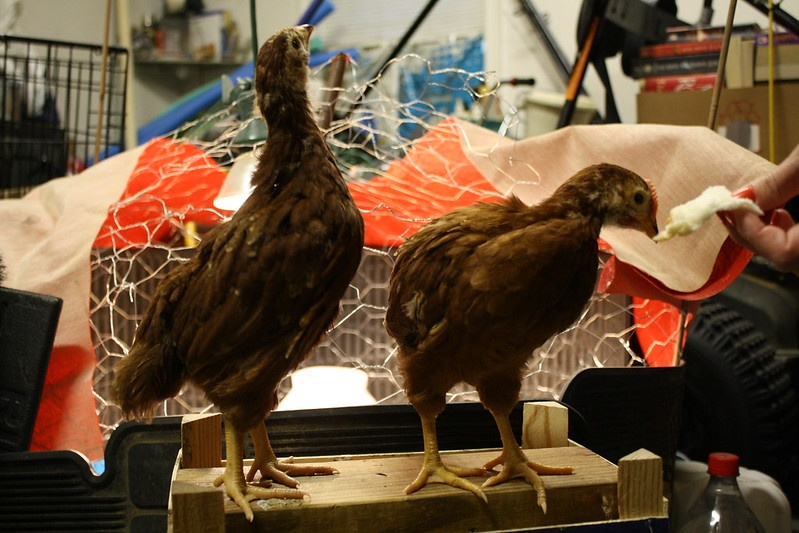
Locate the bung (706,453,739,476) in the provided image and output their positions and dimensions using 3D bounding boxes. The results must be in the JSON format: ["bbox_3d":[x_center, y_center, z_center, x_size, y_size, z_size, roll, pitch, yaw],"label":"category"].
[{"bbox_3d":[1.062,0.657,3.613,0.093,0.090,0.121,6,9,17],"label":"bung"}]
